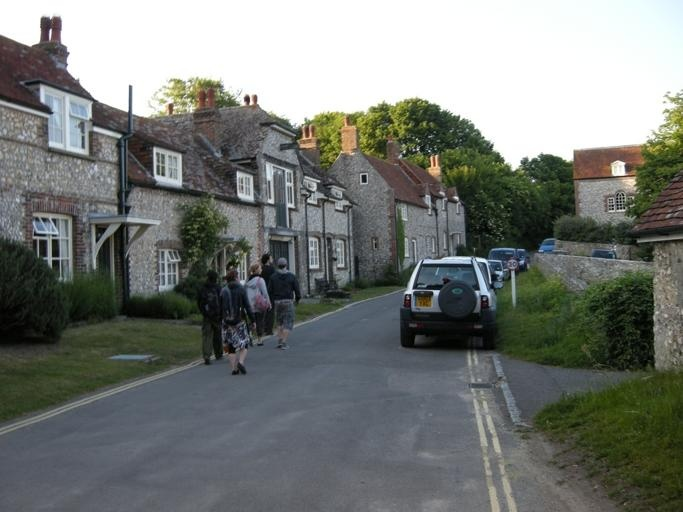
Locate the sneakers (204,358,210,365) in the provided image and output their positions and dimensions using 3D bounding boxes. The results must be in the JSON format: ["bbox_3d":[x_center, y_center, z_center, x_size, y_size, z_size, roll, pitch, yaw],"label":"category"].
[{"bbox_3d":[-3.044,2.456,16.051,0.143,0.168,0.116,0,-5,4],"label":"sneakers"}]

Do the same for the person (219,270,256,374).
[{"bbox_3d":[-2.224,1.457,15.069,0.668,2.146,1.510,-2,5,-8],"label":"person"}]

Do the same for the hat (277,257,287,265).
[{"bbox_3d":[-1.769,0.167,21.028,0.300,0.283,0.496,1,5,3],"label":"hat"}]

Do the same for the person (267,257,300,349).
[{"bbox_3d":[-1.489,1.202,18.042,1.045,2.303,1.048,0,0,-36],"label":"person"}]

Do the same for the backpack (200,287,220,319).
[{"bbox_3d":[-2.952,1.080,15.875,0.551,0.855,0.425,2,-8,-9],"label":"backpack"}]

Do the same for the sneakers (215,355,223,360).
[{"bbox_3d":[-2.897,2.447,16.627,0.112,0.116,0.102,-1,-7,8],"label":"sneakers"}]
